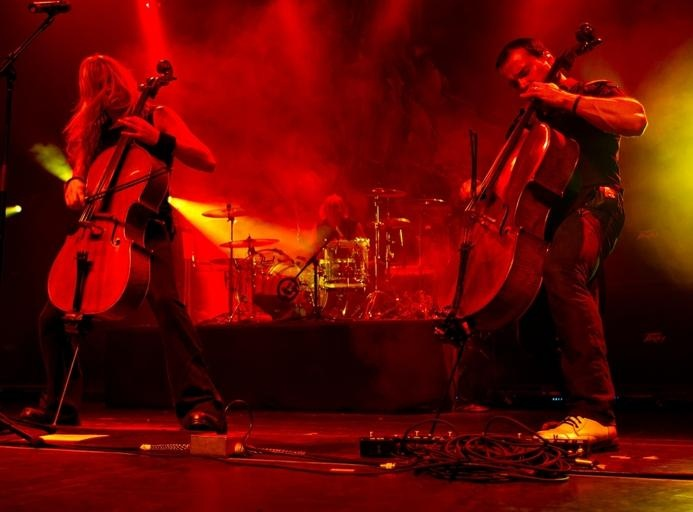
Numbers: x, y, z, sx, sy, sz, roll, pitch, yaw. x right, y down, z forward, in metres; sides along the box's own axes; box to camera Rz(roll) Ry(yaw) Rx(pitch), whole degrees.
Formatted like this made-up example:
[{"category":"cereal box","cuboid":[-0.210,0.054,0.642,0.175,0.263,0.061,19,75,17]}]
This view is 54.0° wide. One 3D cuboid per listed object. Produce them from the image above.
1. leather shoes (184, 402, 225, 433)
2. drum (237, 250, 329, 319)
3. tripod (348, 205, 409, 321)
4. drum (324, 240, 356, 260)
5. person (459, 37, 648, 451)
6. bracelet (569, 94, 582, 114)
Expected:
[{"category":"leather shoes","cuboid":[-0.880,0.975,4.132,0.243,0.178,0.234,5,-13,-16]},{"category":"drum","cuboid":[-0.746,0.368,7.927,0.739,0.817,1.007,3,-12,-8]},{"category":"tripod","cuboid":[0.422,-0.048,8.453,0.632,1.809,1.496,0,-12,4]},{"category":"drum","cuboid":[-0.082,-0.073,8.247,0.271,0.158,0.265,-1,1,0]},{"category":"person","cuboid":[1.248,-0.175,3.820,0.719,2.417,0.654,1,-13,0]},{"category":"bracelet","cuboid":[1.239,-0.817,3.677,0.024,0.082,0.083,20,-15,4]}]
